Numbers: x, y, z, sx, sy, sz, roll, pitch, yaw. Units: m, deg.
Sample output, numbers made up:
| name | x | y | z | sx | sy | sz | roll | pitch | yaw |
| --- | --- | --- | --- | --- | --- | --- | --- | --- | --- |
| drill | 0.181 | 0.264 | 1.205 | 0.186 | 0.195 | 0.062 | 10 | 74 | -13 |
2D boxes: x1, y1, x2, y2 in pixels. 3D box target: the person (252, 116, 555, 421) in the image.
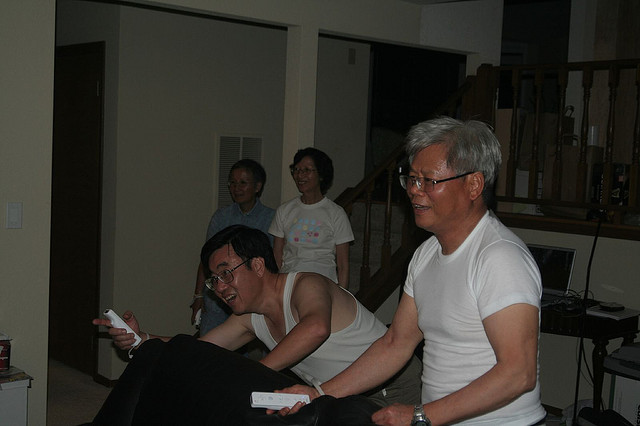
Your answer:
| name | x | y | z | sx | sy | sz | roll | pitch | yaw |
| --- | --- | --- | --- | --- | --- | --- | --- | --- | --- |
| person | 0.479 | 0.222 | 2.030 | 0.544 | 1.193 | 0.691 | -4 | 7 | -39 |

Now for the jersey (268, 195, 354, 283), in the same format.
| name | x | y | z | sx | sy | sz | roll | pitch | yaw |
| --- | --- | --- | --- | --- | --- | --- | --- | --- | --- |
| jersey | -0.073 | 0.223 | 4.265 | 0.692 | 0.733 | 0.401 | 5 | 16 | 13 |

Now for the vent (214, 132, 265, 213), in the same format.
| name | x | y | z | sx | sy | sz | roll | pitch | yaw |
| --- | --- | --- | --- | --- | --- | --- | --- | --- | --- |
| vent | -0.848 | -0.404 | 5.503 | 0.523 | 0.974 | 0.059 | 2 | -25 | -9 |

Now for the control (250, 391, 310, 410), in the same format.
| name | x | y | z | sx | sy | sz | roll | pitch | yaw |
| --- | --- | --- | --- | --- | --- | --- | --- | --- | --- |
| control | -0.141 | 0.632 | 1.738 | 0.217 | 0.066 | 0.035 | 4 | -35 | -14 |

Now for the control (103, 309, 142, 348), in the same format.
| name | x | y | z | sx | sy | sz | roll | pitch | yaw |
| --- | --- | --- | --- | --- | --- | --- | --- | --- | --- |
| control | -0.907 | 0.525 | 2.406 | 0.163 | 0.181 | 0.113 | 1 | 6 | 6 |
